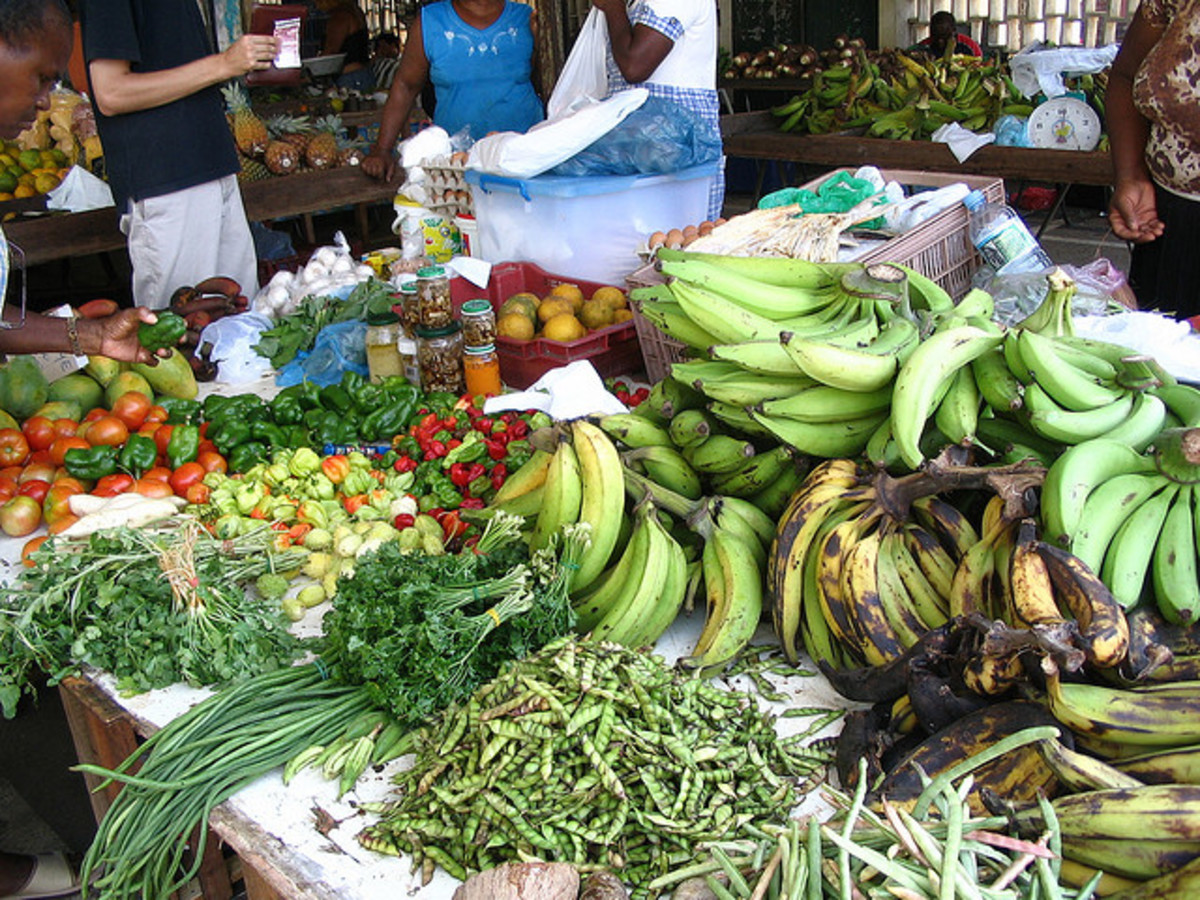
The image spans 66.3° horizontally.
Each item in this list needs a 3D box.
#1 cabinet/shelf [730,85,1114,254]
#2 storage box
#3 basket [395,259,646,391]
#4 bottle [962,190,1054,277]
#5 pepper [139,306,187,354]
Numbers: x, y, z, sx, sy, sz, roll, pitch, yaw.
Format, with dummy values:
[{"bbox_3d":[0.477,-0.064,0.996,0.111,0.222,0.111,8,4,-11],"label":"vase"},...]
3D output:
[{"bbox_3d":[2.378,-2.009,6.975,2.922,1.004,1.298,13,36,27],"label":"cabinet/shelf"},{"bbox_3d":[-0.001,-1.154,4.112,1.199,0.569,0.760,3,22,13],"label":"storage box"},{"bbox_3d":[-0.300,-0.510,3.680,1.088,0.470,0.733,-12,22,-29],"label":"basket"},{"bbox_3d":[1.365,-0.703,3.060,0.208,0.354,0.262,-15,26,-30],"label":"bottle"},{"bbox_3d":[-1.512,-0.415,3.202,0.148,0.122,0.067,-22,-4,11],"label":"pepper"}]
